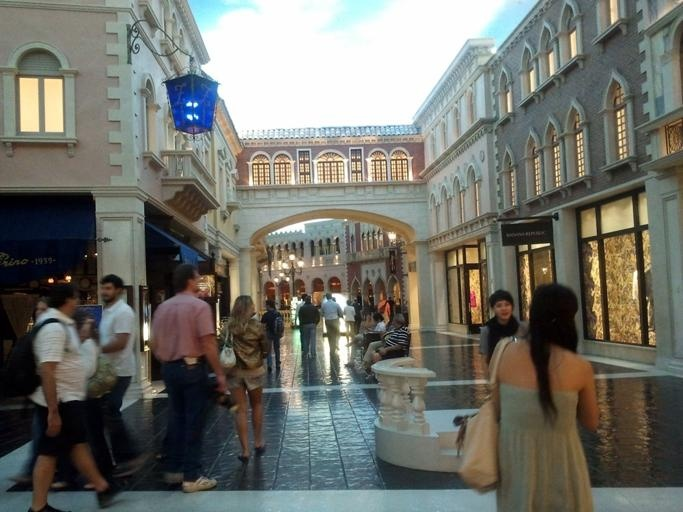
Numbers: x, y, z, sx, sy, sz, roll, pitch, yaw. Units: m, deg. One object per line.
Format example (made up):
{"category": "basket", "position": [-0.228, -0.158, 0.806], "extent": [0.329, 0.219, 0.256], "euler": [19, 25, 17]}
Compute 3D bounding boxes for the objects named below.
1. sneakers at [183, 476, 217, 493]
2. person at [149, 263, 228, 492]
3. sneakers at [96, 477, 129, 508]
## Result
{"category": "sneakers", "position": [-1.524, 2.459, 6.276], "extent": [0.393, 0.183, 0.139], "euler": [-1, 2, -18]}
{"category": "person", "position": [-1.715, 1.331, 6.490], "extent": [0.863, 2.485, 0.554], "euler": [-2, -6, 5]}
{"category": "sneakers", "position": [-2.345, 2.461, 5.927], "extent": [0.161, 0.248, 0.498], "euler": [-4, -25, -10]}
